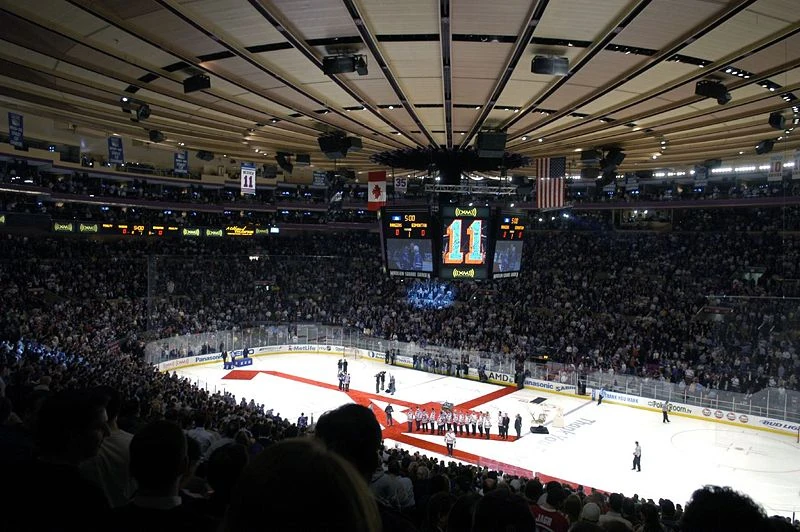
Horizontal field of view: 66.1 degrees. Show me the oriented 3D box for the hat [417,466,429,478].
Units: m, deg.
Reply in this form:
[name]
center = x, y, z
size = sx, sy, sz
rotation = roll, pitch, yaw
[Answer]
[hat]
center = 0.586, 5.033, 15.141
size = 0.260, 0.246, 0.429
rotation = 1, 0, 23
